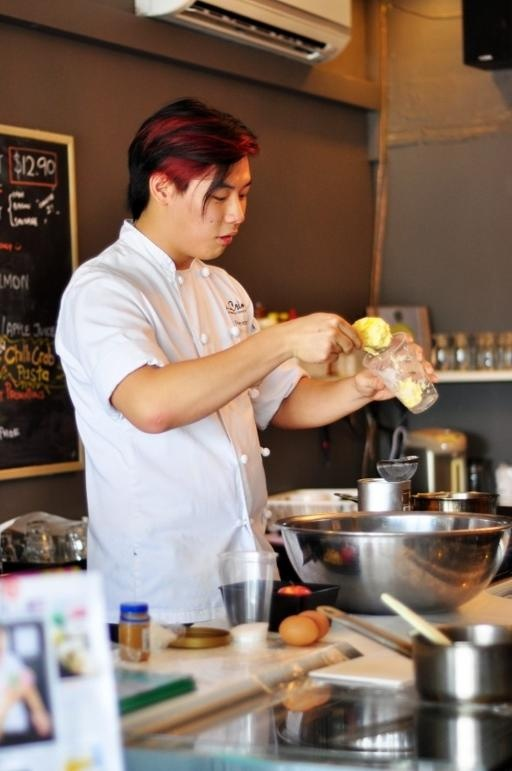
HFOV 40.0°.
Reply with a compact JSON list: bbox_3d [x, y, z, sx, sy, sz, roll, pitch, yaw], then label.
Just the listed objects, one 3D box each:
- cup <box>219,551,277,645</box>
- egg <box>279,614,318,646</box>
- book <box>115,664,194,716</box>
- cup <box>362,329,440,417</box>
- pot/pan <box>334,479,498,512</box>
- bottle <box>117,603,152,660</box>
[{"bbox_3d":[-0.015,0.301,1.013,0.084,0.121,0.086,1,-5,0],"label":"cup"},{"bbox_3d":[0.061,0.339,0.977,0.055,0.039,0.053,1,-4,4],"label":"egg"},{"bbox_3d":[-0.118,0.318,0.750,0.053,0.011,0.050,-6,-8,45],"label":"book"},{"bbox_3d":[0.290,-0.029,1.460,0.111,0.163,0.133,-10,26,31],"label":"cup"},{"bbox_3d":[0.404,0.270,1.663,0.305,0.095,0.152,-2,-3,6],"label":"pot/pan"},{"bbox_3d":[-0.156,0.311,0.898,0.039,0.066,0.066,2,-5,-8],"label":"bottle"}]
